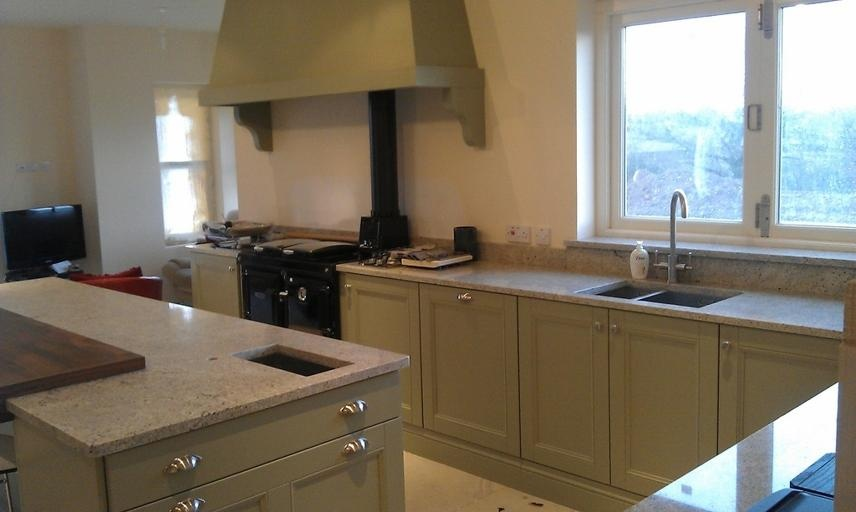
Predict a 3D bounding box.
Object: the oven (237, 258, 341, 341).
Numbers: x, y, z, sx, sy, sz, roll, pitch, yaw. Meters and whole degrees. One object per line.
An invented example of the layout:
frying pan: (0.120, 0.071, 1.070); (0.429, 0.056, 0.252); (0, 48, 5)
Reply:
oven: (-1.077, 0.286, 5.253); (0.759, 0.672, 0.377); (11, 32, 8)

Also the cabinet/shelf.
cabinet/shelf: (0.873, 0.808, 4.146); (2.816, 1.347, 0.406); (3, 11, 31)

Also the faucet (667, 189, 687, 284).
faucet: (1.575, -0.121, 4.200); (0.086, 0.592, 0.244); (-3, -5, 42)

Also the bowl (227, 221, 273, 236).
bowl: (-1.601, -0.246, 6.031); (0.432, 0.113, 0.306); (-8, 10, -31)

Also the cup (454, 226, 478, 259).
cup: (0.277, -0.102, 4.942); (0.171, 0.240, 0.158); (-1, 19, 0)
